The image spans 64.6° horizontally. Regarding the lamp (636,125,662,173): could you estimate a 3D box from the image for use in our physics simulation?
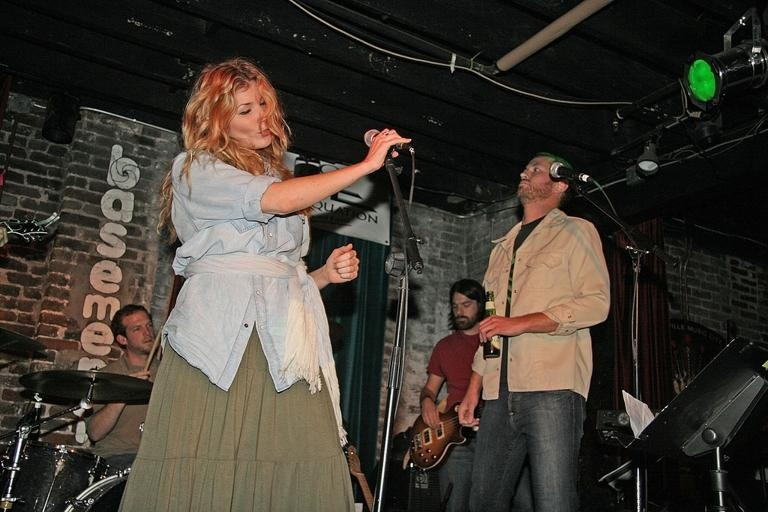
[{"bbox_3d":[2.369,-0.888,5.445,0.200,0.342,0.241,-2,-21,23],"label":"lamp"}]

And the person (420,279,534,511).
[{"bbox_3d":[0.708,1.112,4.579,0.380,2.881,0.768,20,-40,-16],"label":"person"}]

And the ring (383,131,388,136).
[{"bbox_3d":[0.017,-0.575,2.869,0.016,0.021,0.006,0,-9,5],"label":"ring"}]

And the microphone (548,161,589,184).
[{"bbox_3d":[1.199,-0.529,3.981,0.128,0.123,0.320,-4,20,-23],"label":"microphone"}]
